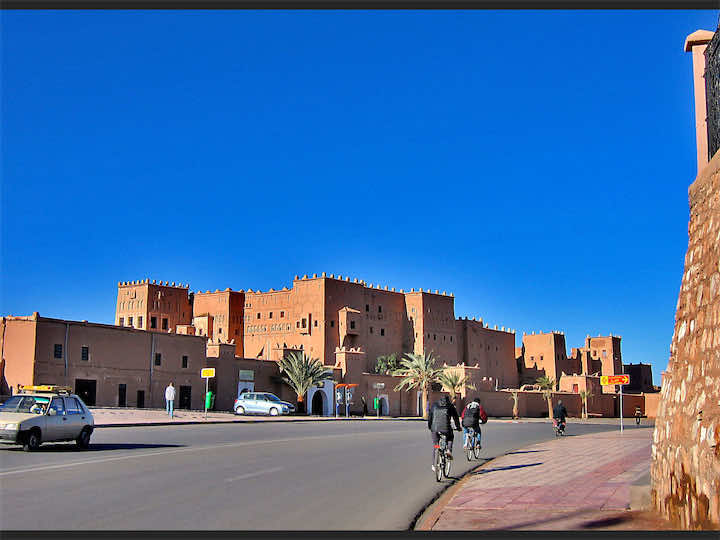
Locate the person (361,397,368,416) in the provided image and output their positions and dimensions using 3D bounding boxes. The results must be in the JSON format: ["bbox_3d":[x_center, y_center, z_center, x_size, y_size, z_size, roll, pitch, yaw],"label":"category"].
[{"bbox_3d":[0.493,13.665,62.787,0.664,1.813,1.217,-1,-11,-1],"label":"person"}]

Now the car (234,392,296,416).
[{"bbox_3d":[-7.292,10.227,47.331,4.099,1.576,1.906,-5,-8,24],"label":"car"}]

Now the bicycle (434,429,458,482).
[{"bbox_3d":[1.894,4.219,14.222,0.559,0.707,1.161,1,2,7],"label":"bicycle"}]

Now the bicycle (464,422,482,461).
[{"bbox_3d":[3.493,5.393,19.198,0.516,0.645,1.047,-3,-11,15],"label":"bicycle"}]
